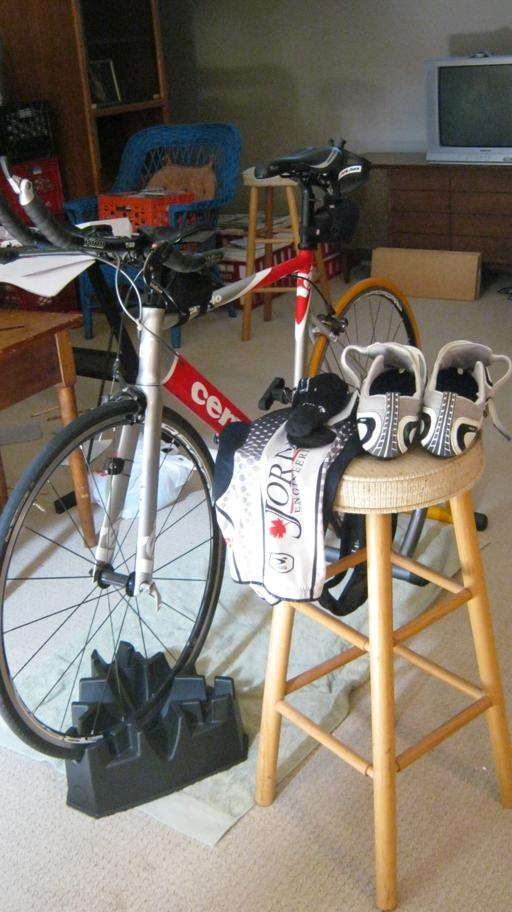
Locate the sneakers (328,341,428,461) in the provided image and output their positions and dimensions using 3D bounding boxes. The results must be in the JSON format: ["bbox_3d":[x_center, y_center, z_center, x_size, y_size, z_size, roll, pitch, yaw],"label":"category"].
[{"bbox_3d":[0.155,-0.084,0.811,0.085,0.070,0.160,2,48,13],"label":"sneakers"}]
